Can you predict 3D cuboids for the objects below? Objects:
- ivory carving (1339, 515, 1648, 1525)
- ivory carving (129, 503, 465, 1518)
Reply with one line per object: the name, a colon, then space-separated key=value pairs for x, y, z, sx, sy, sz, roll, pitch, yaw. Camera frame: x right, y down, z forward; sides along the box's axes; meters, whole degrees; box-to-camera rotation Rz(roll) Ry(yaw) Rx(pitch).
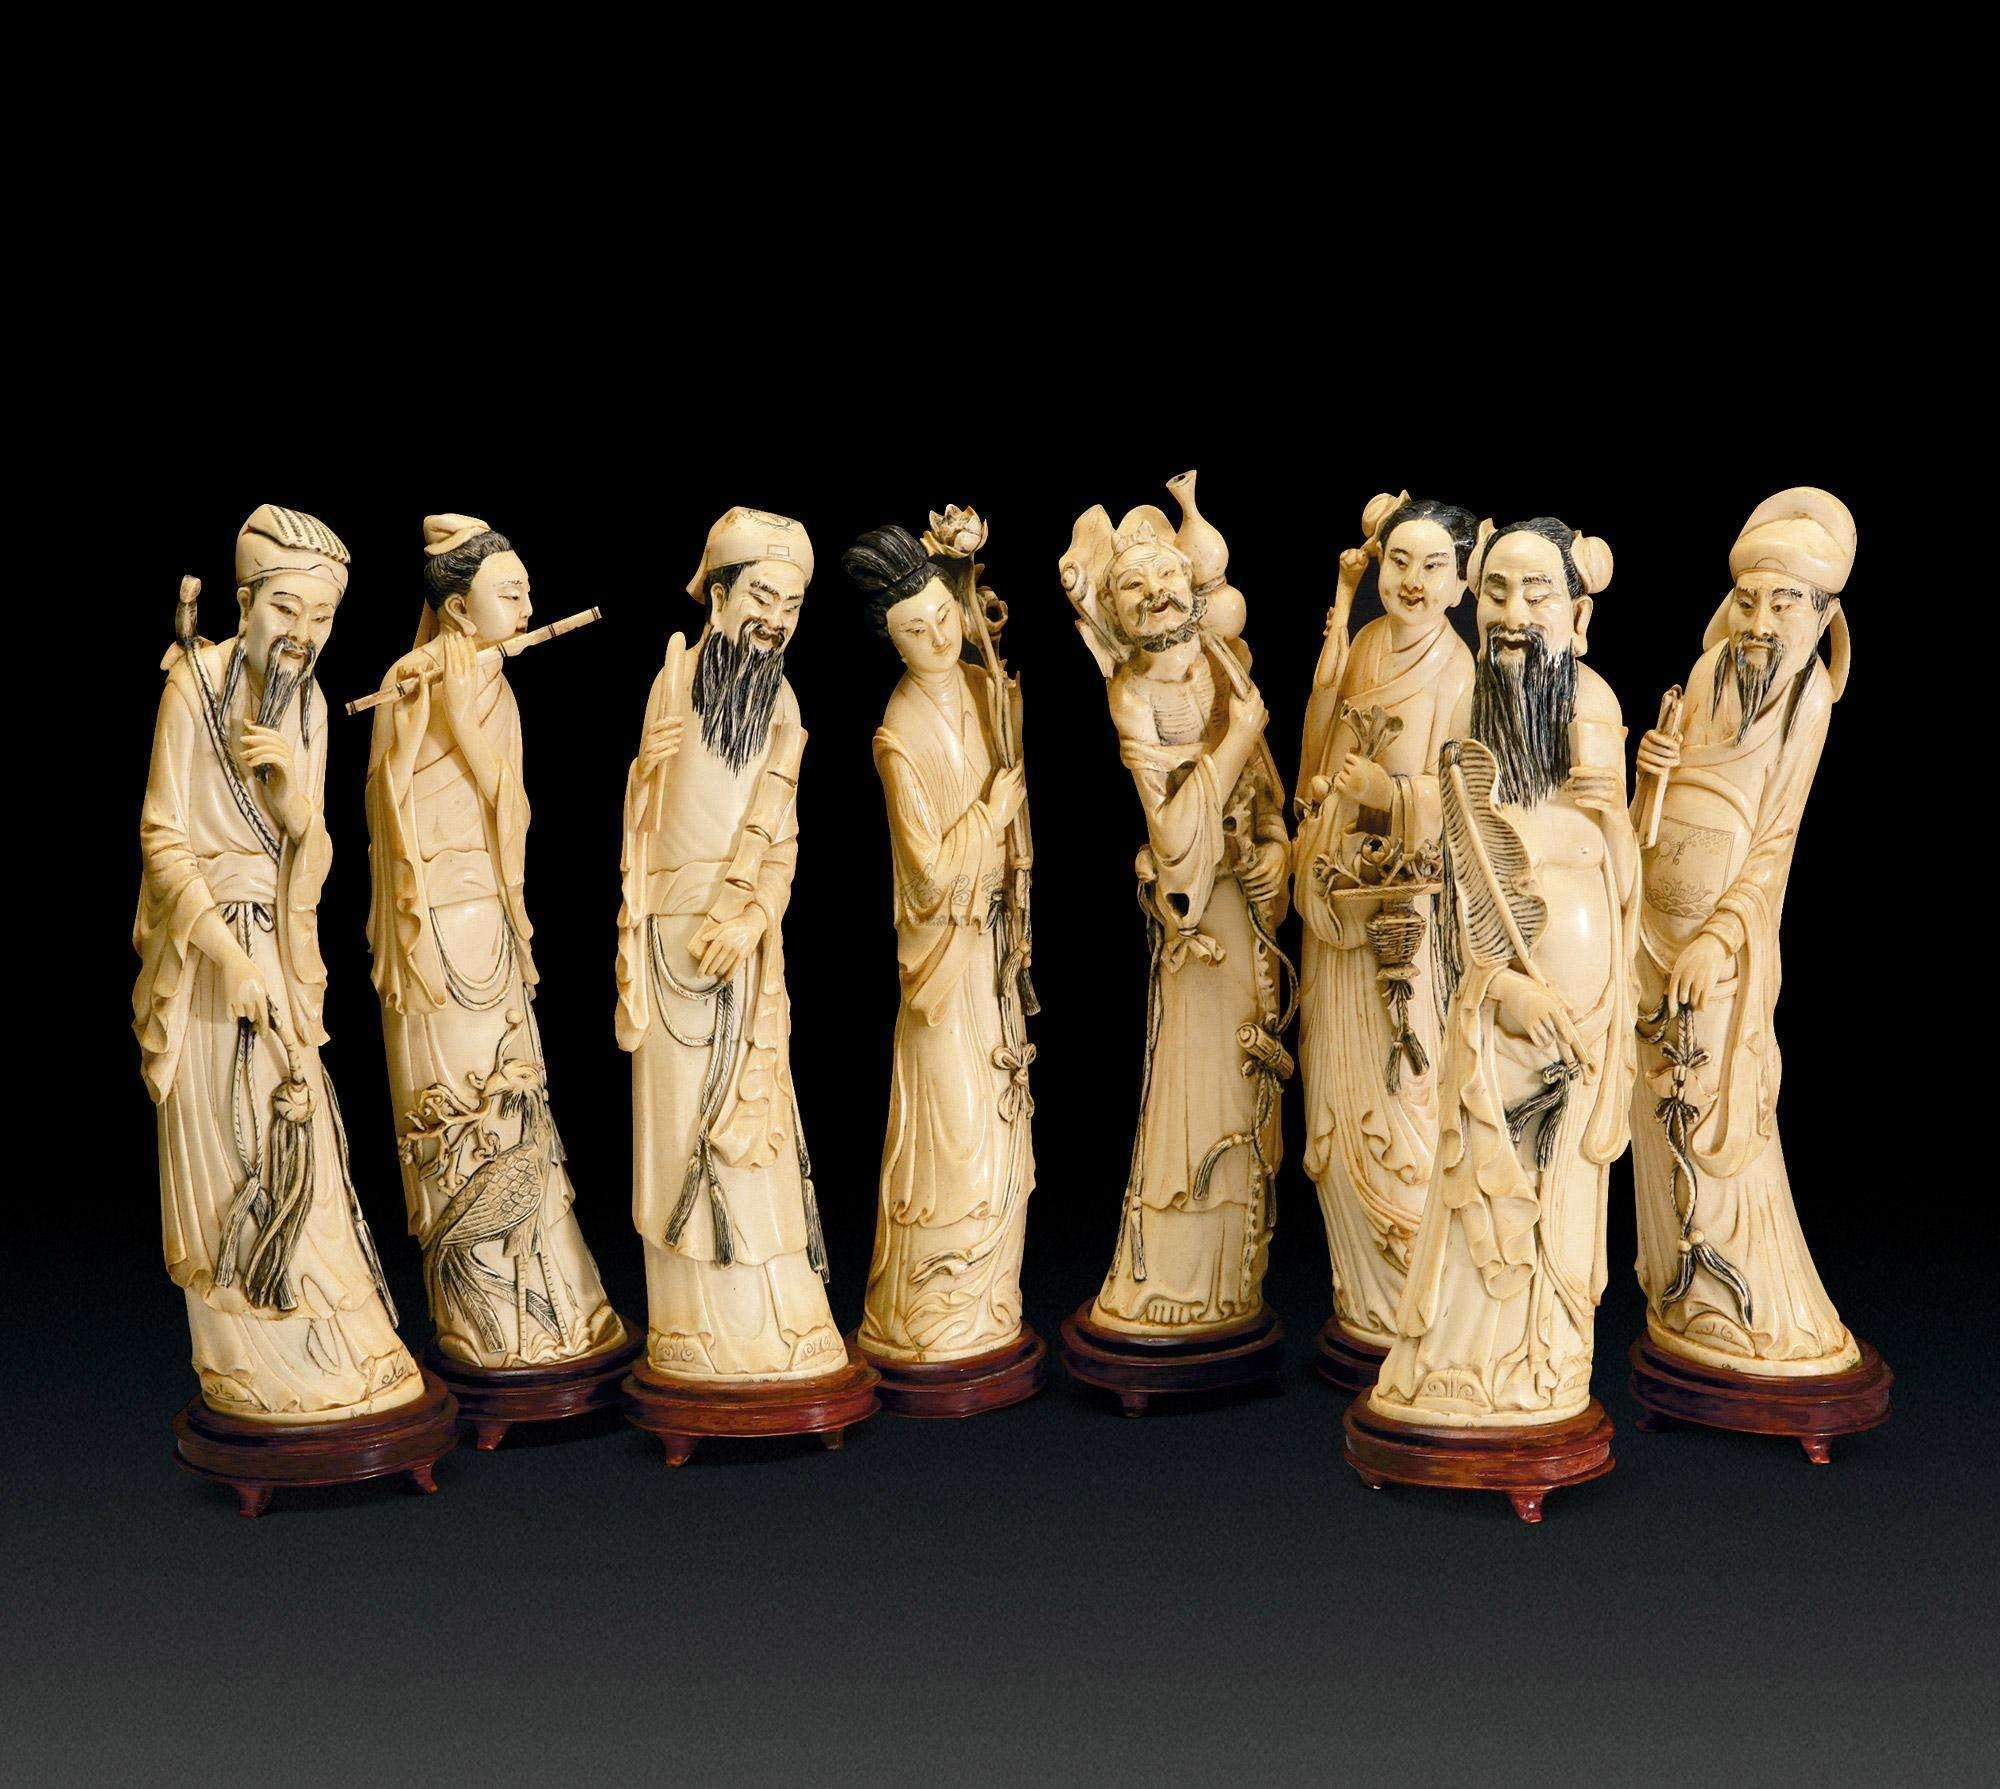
ivory carving: x=1.301 y=0.309 z=9.234 sx=0.673 sy=2.500 sz=0.646 roll=3 pitch=18 yaw=11
ivory carving: x=-1.968 y=0.288 z=9.484 sx=0.687 sy=2.591 sz=0.752 roll=-5 pitch=19 yaw=-14
